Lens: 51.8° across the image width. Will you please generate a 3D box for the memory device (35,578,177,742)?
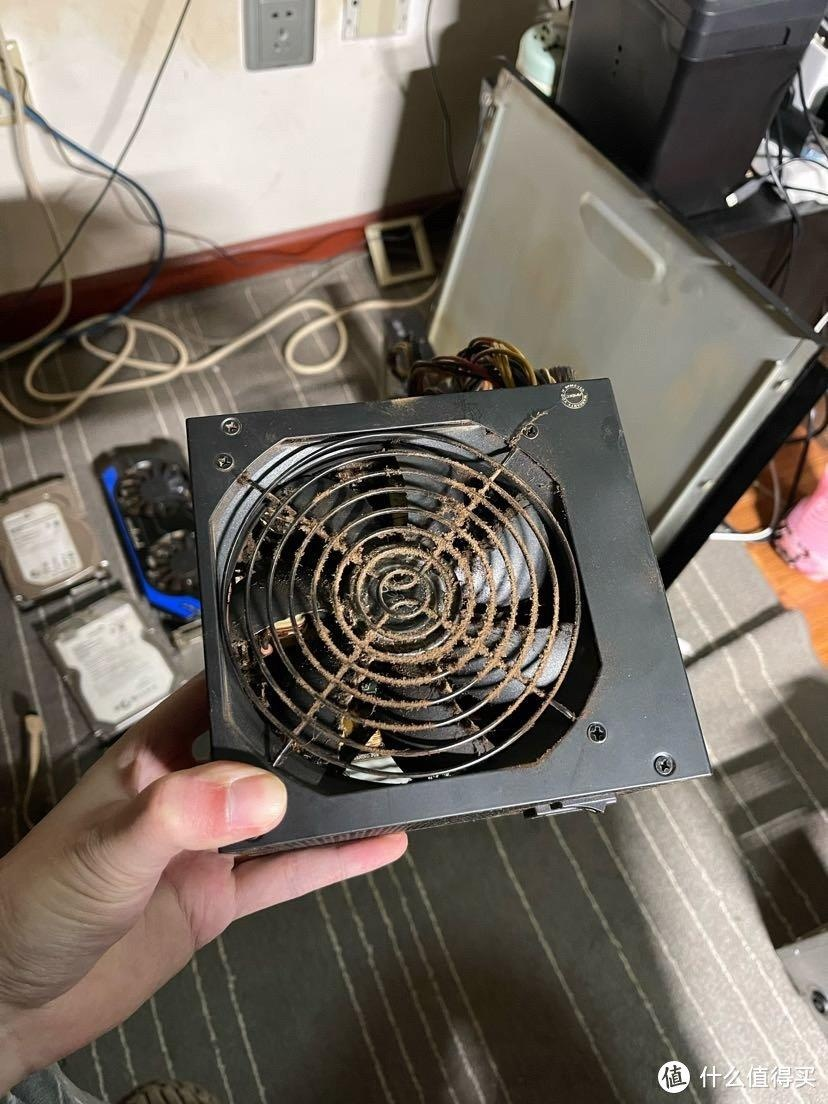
[{"bbox_3d":[-0.544,0.198,1.543,0.179,0.059,0.233,-29,77,-29],"label":"memory device"}]
